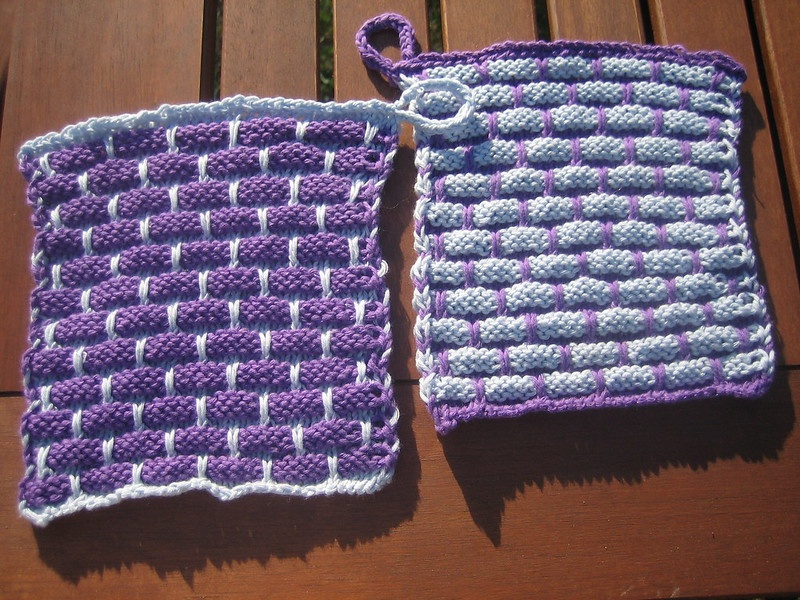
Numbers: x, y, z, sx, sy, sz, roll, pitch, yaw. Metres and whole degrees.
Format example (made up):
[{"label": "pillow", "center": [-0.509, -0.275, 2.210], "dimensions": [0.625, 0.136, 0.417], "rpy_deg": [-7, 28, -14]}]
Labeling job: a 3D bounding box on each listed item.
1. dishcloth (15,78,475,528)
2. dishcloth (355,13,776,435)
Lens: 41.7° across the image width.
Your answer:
[{"label": "dishcloth", "center": [-0.328, 0.043, 2.300], "dimensions": [0.965, 0.062, 0.910], "rpy_deg": [-2, 81, -1]}, {"label": "dishcloth", "center": [0.360, -0.128, 2.321], "dimensions": [0.913, 0.081, 0.937], "rpy_deg": [-2, 84, -2]}]
